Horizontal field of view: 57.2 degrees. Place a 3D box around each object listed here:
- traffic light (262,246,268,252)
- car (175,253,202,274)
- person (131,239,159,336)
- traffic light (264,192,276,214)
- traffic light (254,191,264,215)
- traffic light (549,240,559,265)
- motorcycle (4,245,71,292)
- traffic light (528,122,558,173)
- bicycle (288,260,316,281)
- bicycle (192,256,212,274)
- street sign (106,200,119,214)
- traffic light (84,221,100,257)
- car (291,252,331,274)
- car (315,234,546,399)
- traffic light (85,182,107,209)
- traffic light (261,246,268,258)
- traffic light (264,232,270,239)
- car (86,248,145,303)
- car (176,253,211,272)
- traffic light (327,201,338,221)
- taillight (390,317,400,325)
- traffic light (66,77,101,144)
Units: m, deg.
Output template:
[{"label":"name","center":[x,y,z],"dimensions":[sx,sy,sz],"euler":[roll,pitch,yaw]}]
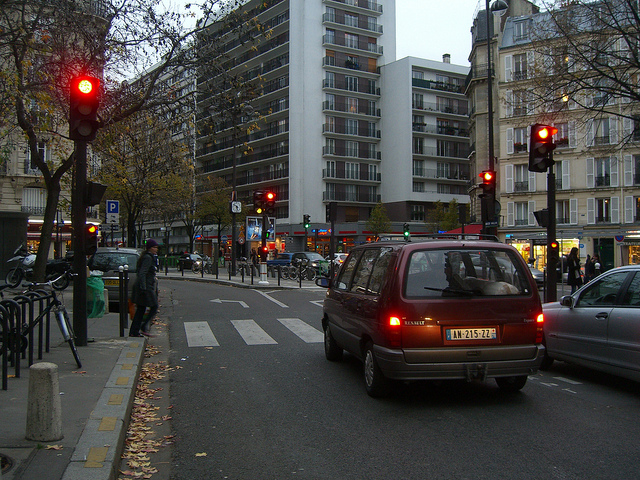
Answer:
[{"label":"traffic light","center":[-2.431,0.408,26.008],"dimensions":[0.154,0.320,0.169],"euler":[-1,6,-12]},{"label":"car","center":[-9.829,1.677,44.148],"dimensions":[1.430,1.290,2.342],"euler":[3,-8,-45]},{"label":"person","center":[-3.614,0.970,12.149],"dimensions":[0.520,1.949,0.822],"euler":[1,1,-17]},{"label":"traffic light","center":[-2.132,-1.571,24.696],"dimensions":[0.415,0.899,0.921],"euler":[1,1,-7]},{"label":"traffic light","center":[-2.589,-1.573,24.933],"dimensions":[0.397,0.934,0.515],"euler":[1,1,-7]},{"label":"traffic light","center":[5.132,0.269,12.974],"dimensions":[0.169,0.546,0.322],"euler":[2,1,24]},{"label":"motorcycle","center":[-10.139,1.042,20.971],"dimensions":[2.767,1.849,1.332],"euler":[4,-2,30]},{"label":"traffic light","center":[5.044,-2.123,13.392],"dimensions":[0.542,1.120,0.565],"euler":[2,1,20]},{"label":"bicycle","center":[-1.004,1.864,33.978],"dimensions":[1.674,1.152,0.861],"euler":[-4,-5,36]},{"label":"bicycle","center":[-8.265,1.806,41.990],"dimensions":[1.051,1.336,1.945],"euler":[3,-2,-43]},{"label":"street sign","center":[-7.288,-1.168,20.692],"dimensions":[0.368,0.485,0.834],"euler":[1,1,-21]},{"label":"traffic light","center":[-4.244,0.000,10.949],"dimensions":[0.207,0.613,0.621],"euler":[1,1,-16]},{"label":"car","center":[-0.570,1.352,35.760],"dimensions":[1.185,1.146,1.963],"euler":[2,-7,-38]},{"label":"car","center":[1.536,1.170,10.016],"dimensions":[2.495,2.299,4.877],"euler":[1,-1,-9]},{"label":"traffic light","center":[-4.084,-0.822,10.819],"dimensions":[0.328,0.498,0.376],"euler":[2,1,17]},{"label":"traffic light","center":[-2.499,0.527,26.103],"dimensions":[0.224,0.526,0.617],"euler":[1,1,2]},{"label":"traffic light","center":[-2.488,-0.229,27.357],"dimensions":[0.218,0.239,0.223],"euler":[0,0,43]},{"label":"car","center":[-5.478,1.090,15.141],"dimensions":[1.312,1.334,2.517],"euler":[2,4,-4]},{"label":"car","center":[-9.949,1.522,44.489],"dimensions":[2.782,1.505,1.711],"euler":[-6,-6,41]},{"label":"traffic light","center":[0.493,-1.226,24.962],"dimensions":[0.375,0.779,1.150],"euler":[1,1,-1]},{"label":"taillight","center":[0.961,1.054,7.614],"dimensions":[0.122,0.091,0.033],"euler":[2,1,9]},{"label":"traffic light","center":[-4.322,-2.425,10.788],"dimensions":[0.501,1.208,1.014],"euler":[1,1,-23]}]
